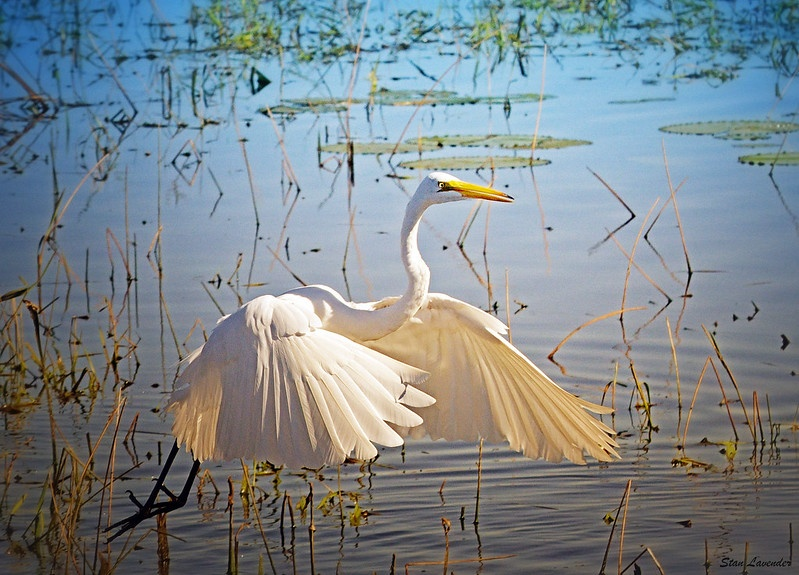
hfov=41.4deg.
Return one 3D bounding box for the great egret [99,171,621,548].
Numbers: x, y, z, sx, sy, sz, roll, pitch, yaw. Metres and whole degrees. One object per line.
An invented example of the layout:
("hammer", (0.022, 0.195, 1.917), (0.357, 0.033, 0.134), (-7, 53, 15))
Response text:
("great egret", (-0.203, 0.238, 8.062), (3.002, 2.256, 1.430), (-2, 5, -14))
